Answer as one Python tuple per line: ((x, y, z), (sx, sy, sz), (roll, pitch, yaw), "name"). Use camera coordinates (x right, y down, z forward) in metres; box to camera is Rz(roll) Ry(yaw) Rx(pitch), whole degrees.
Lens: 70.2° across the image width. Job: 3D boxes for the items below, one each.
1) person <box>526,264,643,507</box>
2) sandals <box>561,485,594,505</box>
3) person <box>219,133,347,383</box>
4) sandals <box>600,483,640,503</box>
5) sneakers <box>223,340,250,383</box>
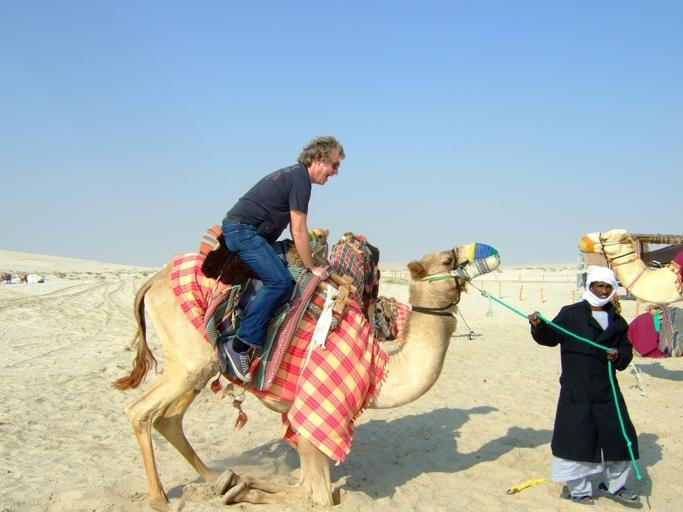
((2.539, 1.356, 4.993), (1.135, 2.497, 0.539), (1, 4, -10), "person")
((2.480, 2.553, 5.177), (0.128, 0.123, 0.340), (1, -7, -18), "sandals")
((-0.662, 0.159, 4.626), (0.931, 2.070, 0.497), (1, 4, -12), "person")
((2.950, 2.547, 5.160), (0.322, 0.090, 0.185), (3, -4, 27), "sandals")
((-0.977, 0.972, 4.527), (0.264, 0.427, 0.103), (2, 4, -2), "sneakers")
